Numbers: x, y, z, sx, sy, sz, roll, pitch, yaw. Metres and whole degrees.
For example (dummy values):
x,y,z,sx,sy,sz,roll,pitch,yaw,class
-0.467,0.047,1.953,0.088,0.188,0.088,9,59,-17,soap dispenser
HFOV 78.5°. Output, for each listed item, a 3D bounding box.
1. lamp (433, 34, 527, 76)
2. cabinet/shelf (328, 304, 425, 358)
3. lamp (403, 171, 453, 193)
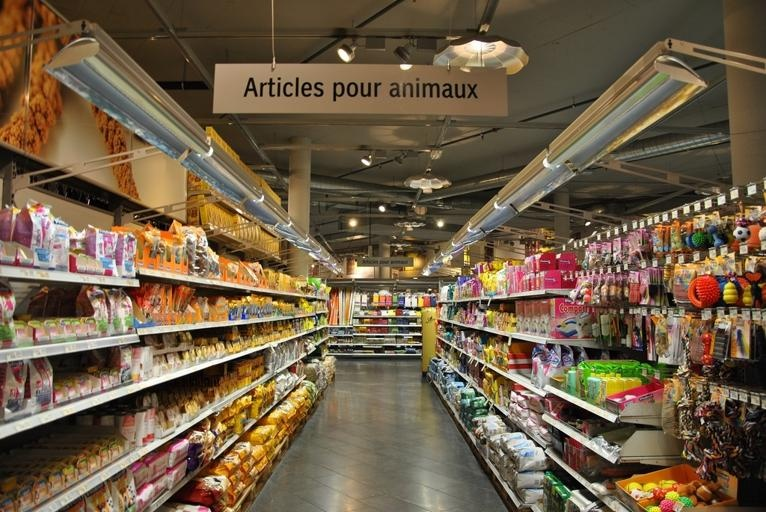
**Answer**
x,y,z,sx,sy,sz,roll,pitch,yaw,class
1.019,-2.039,4.714,0.796,0.230,0.820,5,3,32,lamp
-0.144,3.286,18.983,3.959,1.707,0.903,-5,-17,24,cabinet/shelf
0.846,-1.532,8.955,0.780,0.475,0.706,4,-5,-43,lamp
